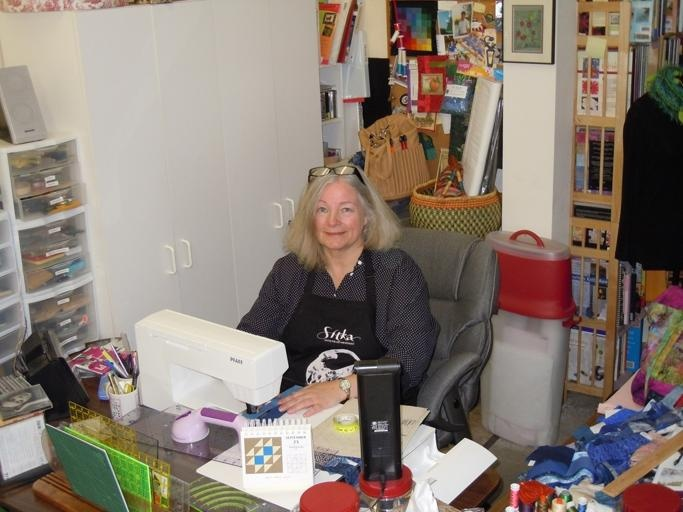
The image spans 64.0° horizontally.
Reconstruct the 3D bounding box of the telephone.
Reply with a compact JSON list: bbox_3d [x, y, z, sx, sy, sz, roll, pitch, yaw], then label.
[{"bbox_3d":[0.091,0.396,1.289,0.127,0.276,0.266,-2,4,-3],"label":"telephone"}]

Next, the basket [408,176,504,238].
[{"bbox_3d":[0.713,-0.339,3.531,0.458,0.215,0.377,9,10,38],"label":"basket"}]

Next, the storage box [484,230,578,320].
[{"bbox_3d":[1.013,0.115,2.959,0.425,0.442,0.220,9,22,35],"label":"storage box"}]

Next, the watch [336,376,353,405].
[{"bbox_3d":[0.018,0.452,1.867,0.040,0.067,0.068,2,41,6],"label":"watch"}]

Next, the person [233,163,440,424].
[{"bbox_3d":[-0.007,0.112,2.328,0.834,0.948,0.469,1,16,11],"label":"person"}]

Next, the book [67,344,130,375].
[{"bbox_3d":[-0.937,0.407,2.122,0.205,0.057,0.206,1,19,38],"label":"book"}]
